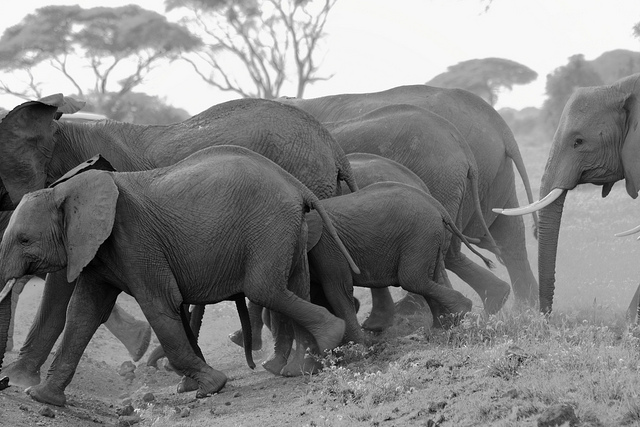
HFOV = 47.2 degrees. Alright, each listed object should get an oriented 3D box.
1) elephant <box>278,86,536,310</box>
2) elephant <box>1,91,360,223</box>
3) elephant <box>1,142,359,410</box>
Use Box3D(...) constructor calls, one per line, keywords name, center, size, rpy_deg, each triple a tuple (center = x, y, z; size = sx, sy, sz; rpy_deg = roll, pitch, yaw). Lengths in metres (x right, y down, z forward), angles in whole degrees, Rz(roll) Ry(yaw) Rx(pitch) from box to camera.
Box3D(name="elephant", center=(1.932, -0.533, 9.851), size=(4.364, 2.438, 1.904), rpy_deg=(-1, 0, 0))
Box3D(name="elephant", center=(-1.539, -0.621, 8.153), size=(3.839, 1.986, 1.405), rpy_deg=(0, 1, -6))
Box3D(name="elephant", center=(-0.754, 0.376, 8.185), size=(4.983, 2.841, 1.616), rpy_deg=(-5, -2, -14))
